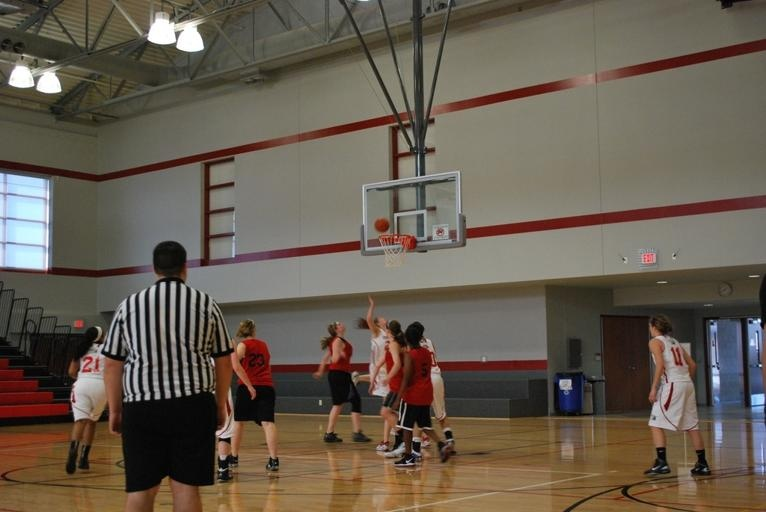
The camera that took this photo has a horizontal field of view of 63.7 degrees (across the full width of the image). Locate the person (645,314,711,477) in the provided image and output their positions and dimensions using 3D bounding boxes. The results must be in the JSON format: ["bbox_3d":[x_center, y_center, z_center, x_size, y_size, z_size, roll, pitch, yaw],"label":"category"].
[{"bbox_3d":[3.714,1.778,7.907,0.735,2.000,1.148,-5,-8,27],"label":"person"}]

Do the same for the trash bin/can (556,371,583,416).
[{"bbox_3d":[4.858,3.560,15.975,0.649,1.113,0.642,-6,-14,27],"label":"trash bin/can"}]

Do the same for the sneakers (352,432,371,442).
[{"bbox_3d":[-0.369,3.254,11.064,0.407,0.207,0.145,2,-1,-10],"label":"sneakers"}]

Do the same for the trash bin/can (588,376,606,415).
[{"bbox_3d":[5.807,3.840,16.911,0.606,1.016,0.638,-7,-13,34],"label":"trash bin/can"}]

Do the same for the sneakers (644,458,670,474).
[{"bbox_3d":[3.443,2.652,7.744,0.269,0.203,0.264,-5,-9,25],"label":"sneakers"}]

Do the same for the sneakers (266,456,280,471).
[{"bbox_3d":[-1.498,2.808,8.377,0.117,0.162,0.361,2,-5,-13],"label":"sneakers"}]

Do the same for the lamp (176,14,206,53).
[{"bbox_3d":[-4.156,-4.777,13.264,0.472,0.839,0.593,1,-8,-15],"label":"lamp"}]

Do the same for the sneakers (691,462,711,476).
[{"bbox_3d":[3.987,2.685,7.706,0.113,0.137,0.305,0,-1,10],"label":"sneakers"}]

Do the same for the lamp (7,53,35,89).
[{"bbox_3d":[-8.360,-4.233,14.227,0.404,0.637,0.540,5,-10,-39],"label":"lamp"}]
